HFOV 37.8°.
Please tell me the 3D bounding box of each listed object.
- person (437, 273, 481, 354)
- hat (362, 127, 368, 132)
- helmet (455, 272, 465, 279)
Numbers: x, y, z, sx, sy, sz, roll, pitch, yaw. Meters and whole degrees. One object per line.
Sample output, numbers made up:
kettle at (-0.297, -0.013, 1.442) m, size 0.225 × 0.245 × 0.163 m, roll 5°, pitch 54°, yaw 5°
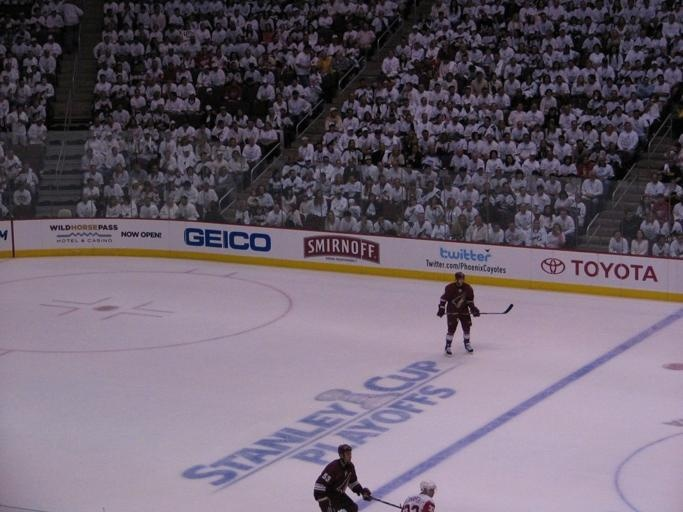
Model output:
person at (2.450, 1.196, 20.935) m, size 0.801 × 1.743 × 1.060 m, roll 5°, pitch 7°, yaw 7°
hat at (0.658, -3.515, 27.901) m, size 0.120 × 0.136 × 0.138 m, roll 3°, pitch 7°, yaw -3°
helmet at (2.400, 0.437, 20.498) m, size 0.151 × 0.166 × 0.197 m, roll -3°, pitch -3°, yaw -39°
